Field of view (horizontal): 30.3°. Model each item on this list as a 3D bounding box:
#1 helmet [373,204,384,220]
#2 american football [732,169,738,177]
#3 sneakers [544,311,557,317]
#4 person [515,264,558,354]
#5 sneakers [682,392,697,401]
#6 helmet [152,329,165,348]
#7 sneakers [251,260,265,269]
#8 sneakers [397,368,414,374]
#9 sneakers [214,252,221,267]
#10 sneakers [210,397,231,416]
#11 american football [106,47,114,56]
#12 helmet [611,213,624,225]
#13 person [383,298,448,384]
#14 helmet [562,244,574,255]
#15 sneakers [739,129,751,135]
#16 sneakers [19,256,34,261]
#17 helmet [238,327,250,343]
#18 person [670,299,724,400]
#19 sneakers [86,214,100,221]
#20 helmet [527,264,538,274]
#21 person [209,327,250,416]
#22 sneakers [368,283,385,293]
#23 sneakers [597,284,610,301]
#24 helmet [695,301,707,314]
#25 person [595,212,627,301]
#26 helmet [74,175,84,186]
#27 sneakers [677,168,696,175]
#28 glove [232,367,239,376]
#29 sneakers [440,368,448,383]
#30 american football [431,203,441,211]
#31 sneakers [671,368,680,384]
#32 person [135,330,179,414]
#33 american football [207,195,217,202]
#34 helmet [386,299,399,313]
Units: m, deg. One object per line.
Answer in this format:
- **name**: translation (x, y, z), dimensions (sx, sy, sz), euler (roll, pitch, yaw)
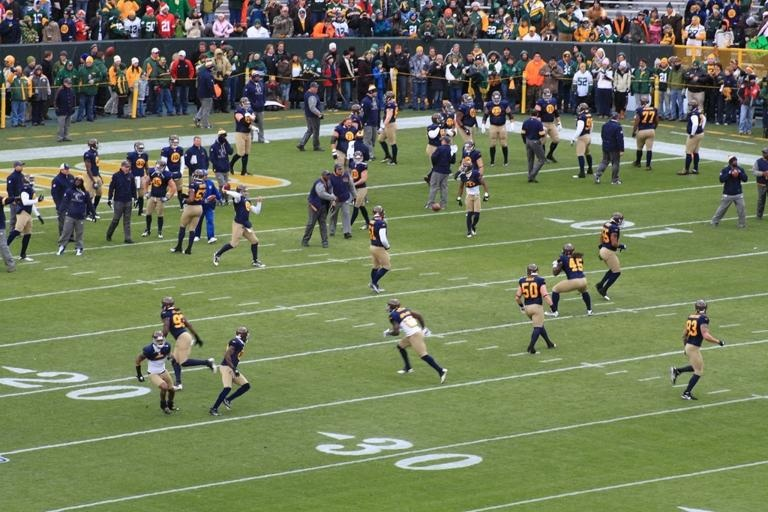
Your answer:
- **helmet**: translation (-0.150, -1.020, 32.940), dimensions (0.286, 0.288, 0.322), euler (4, 14, 8)
- **american football**: translation (9.117, -2.183, 36.988), dimensions (0.171, 0.138, 0.037), euler (14, 3, 5)
- **sneakers**: translation (3.811, 1.330, 32.405), dimensions (0.116, 0.119, 0.310), euler (-8, 13, -43)
- **person**: translation (3.269, 1.115, 30.464), dimensions (0.722, 1.938, 0.845), euler (2, 8, 17)
- **sneakers**: translation (6.186, 2.829, 28.607), dimensions (0.373, 0.135, 0.117), euler (3, 9, -9)
- **helmet**: translation (-4.349, 1.575, 27.659), dimensions (0.246, 0.277, 0.420), euler (-1, 7, -9)
- **sneakers**: translation (-3.080, 0.181, 35.139), dimensions (0.309, 0.154, 0.300), euler (-1, 7, -10)
- **sneakers**: translation (0.441, 2.406, 29.748), dimensions (0.298, 0.103, 0.107), euler (4, 2, 2)
- **sneakers**: translation (-4.066, 0.095, 35.021), dimensions (0.115, 0.285, 0.226), euler (-9, 5, -42)
- **sneakers**: translation (-3.195, 2.986, 28.106), dimensions (0.605, 0.234, 0.184), euler (-16, 29, -17)
- **american football**: translation (-9.309, -7.039, 48.642), dimensions (0.271, 0.300, 0.285), euler (10, -3, -2)
- **helmet**: translation (5.448, -0.882, 32.963), dimensions (0.307, 0.314, 0.346), euler (-5, 3, -25)
- **person**: translation (0.634, 1.723, 29.382), dimensions (1.168, 1.722, 1.060), euler (0, 7, 1)
- **helmet**: translation (4.157, -0.172, 31.725), dimensions (0.256, 0.258, 0.278), euler (5, -4, -6)
- **sneakers**: translation (12.014, -4.150, 47.410), dimensions (0.139, 0.156, 0.420), euler (-4, 6, -29)
- **sneakers**: translation (-8.819, 0.056, 35.276), dimensions (0.383, 0.133, 0.122), euler (0, 27, -6)
- **helmet**: translation (-2.755, 1.522, 27.782), dimensions (0.201, 0.309, 0.477), euler (-1, 7, -8)
- **person**: translation (6.248, 1.878, 28.730), dimensions (0.839, 1.950, 0.877), euler (0, 7, 2)
- **sneakers**: translation (-7.633, -1.016, 37.402), dimensions (0.192, 0.208, 0.589), euler (-17, 9, -31)
- **helmet**: translation (3.150, 0.270, 30.134), dimensions (0.198, 0.173, 0.230), euler (1, -9, -1)
- **person**: translation (-3.054, 2.199, 28.306), dimensions (0.772, 1.775, 1.381), euler (-1, 7, -3)
- **sneakers**: translation (-0.198, 0.759, 33.423), dimensions (0.424, 0.153, 0.146), euler (12, -6, -35)
- **sneakers**: translation (5.089, 0.829, 33.229), dimensions (0.239, 0.504, 0.185), euler (-23, 31, 11)
- **helmet**: translation (6.375, 1.027, 28.635), dimensions (0.201, 0.237, 0.484), euler (1, 7, 7)
- **person**: translation (5.242, 0.025, 33.001), dimensions (0.609, 2.018, 1.125), euler (1, 7, 8)
- **helmet**: translation (-7.465, -1.835, 35.060), dimensions (0.213, 0.178, 0.242), euler (3, 4, -4)
- **sneakers**: translation (9.177, -2.555, 42.994), dimensions (0.519, 0.183, 0.179), euler (2, 9, -2)
- **glove**: translation (-2.880, 2.257, 27.803), dimensions (0.132, 0.138, 0.149), euler (8, 10, 3)
- **sneakers**: translation (1.242, 2.445, 29.272), dimensions (0.145, 0.295, 0.106), euler (25, -27, 0)
- **american football**: translation (1.445, -1.355, 39.306), dimensions (0.214, 0.114, 0.212), euler (5, 14, 24)
- **sneakers**: translation (5.914, 2.461, 28.889), dimensions (0.209, 0.379, 0.154), euler (4, 13, 9)
- **person**: translation (-4.454, 2.258, 27.867), dimensions (0.685, 1.682, 0.646), euler (0, 7, 4)
- **american football**: translation (-4.312, -1.451, 35.694), dimensions (0.215, 0.173, 0.067), euler (-4, 8, -27)
- **helmet**: translation (0.219, 0.998, 29.111), dimensions (0.268, 0.204, 0.212), euler (7, 3, -22)
